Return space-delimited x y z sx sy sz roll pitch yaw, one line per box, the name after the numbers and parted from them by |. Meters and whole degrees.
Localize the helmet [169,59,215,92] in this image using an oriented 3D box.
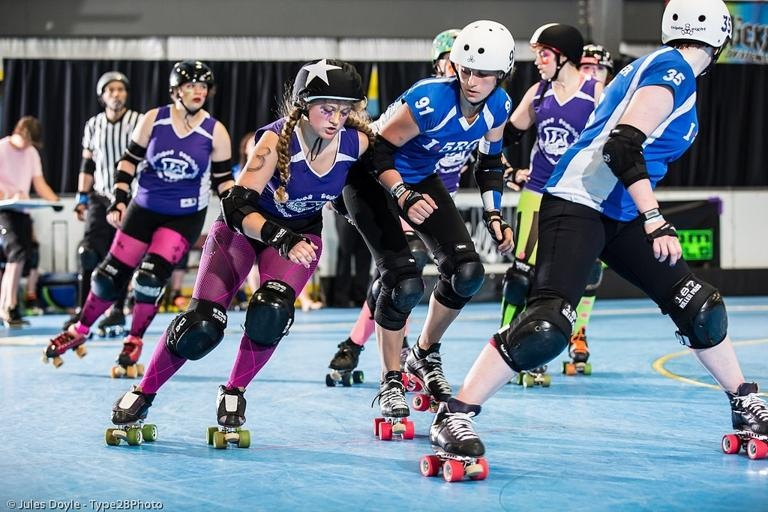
-1.659 -1.533 7.991 0.339 0.340 0.278 1 9 19 | helmet

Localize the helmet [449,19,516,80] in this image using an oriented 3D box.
0.728 -1.454 6.748 0.350 0.401 0.405 13 7 27 | helmet

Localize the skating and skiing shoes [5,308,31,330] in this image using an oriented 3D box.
-4.379 0.727 11.138 0.281 0.253 0.387 -4 10 -24 | skating and skiing shoes

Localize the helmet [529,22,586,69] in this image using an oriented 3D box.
1.452 -1.744 7.840 0.374 0.329 0.298 -3 14 -5 | helmet

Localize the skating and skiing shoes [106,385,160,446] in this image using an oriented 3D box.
-1.757 1.128 6.477 0.177 0.321 0.593 0 -6 5 | skating and skiing shoes

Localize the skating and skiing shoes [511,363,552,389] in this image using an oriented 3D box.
1.250 1.006 7.853 0.204 0.217 0.401 0 -4 -6 | skating and skiing shoes

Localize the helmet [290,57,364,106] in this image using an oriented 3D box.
-0.387 -1.157 6.322 0.389 0.252 0.293 -5 4 -12 | helmet
